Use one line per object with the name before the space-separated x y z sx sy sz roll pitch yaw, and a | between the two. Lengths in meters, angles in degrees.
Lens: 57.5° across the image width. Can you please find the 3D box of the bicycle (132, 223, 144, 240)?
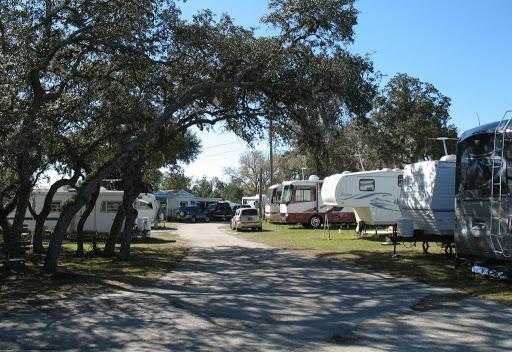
bicycle | -7.165 3.366 28.254 0.633 0.932 0.782 4 -10 -14

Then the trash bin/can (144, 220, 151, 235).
trash bin/can | -6.806 3.126 28.727 0.348 1.051 0.736 1 -9 4

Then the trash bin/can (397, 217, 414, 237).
trash bin/can | 5.960 2.047 18.581 0.597 0.791 0.477 -1 -9 17

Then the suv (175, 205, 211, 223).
suv | -6.632 3.898 47.706 2.876 1.327 1.626 -4 2 -37
